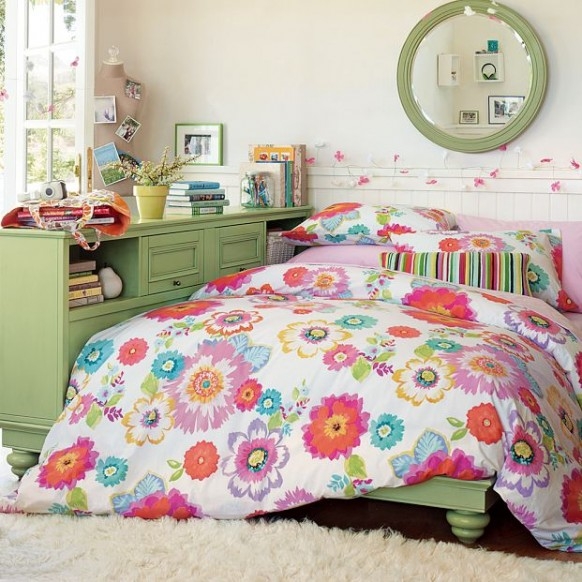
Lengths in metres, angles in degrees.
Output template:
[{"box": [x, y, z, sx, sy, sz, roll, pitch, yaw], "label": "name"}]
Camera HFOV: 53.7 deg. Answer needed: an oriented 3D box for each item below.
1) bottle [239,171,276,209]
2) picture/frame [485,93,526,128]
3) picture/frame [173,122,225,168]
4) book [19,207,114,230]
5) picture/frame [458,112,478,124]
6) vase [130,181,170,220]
[{"box": [-0.186, -0.538, 3.083, 0.222, 0.178, 0.214, 0, 4, 6], "label": "bottle"}, {"box": [1.050, -0.883, 2.791, 0.237, 0.155, 0.010, 1, 5, 34], "label": "picture/frame"}, {"box": [-0.587, -0.918, 3.594, 0.398, 0.244, 0.021, 12, 18, 35], "label": "picture/frame"}, {"box": [-0.724, -0.245, 1.870, 0.299, 0.090, 0.101, 2, -5, -20], "label": "book"}, {"box": [0.888, -0.872, 2.879, 0.086, 0.049, 0.007, 4, 9, 35], "label": "picture/frame"}, {"box": [-0.557, -0.364, 2.357, 0.174, 0.142, 0.156, 0, 0, -23], "label": "vase"}]
